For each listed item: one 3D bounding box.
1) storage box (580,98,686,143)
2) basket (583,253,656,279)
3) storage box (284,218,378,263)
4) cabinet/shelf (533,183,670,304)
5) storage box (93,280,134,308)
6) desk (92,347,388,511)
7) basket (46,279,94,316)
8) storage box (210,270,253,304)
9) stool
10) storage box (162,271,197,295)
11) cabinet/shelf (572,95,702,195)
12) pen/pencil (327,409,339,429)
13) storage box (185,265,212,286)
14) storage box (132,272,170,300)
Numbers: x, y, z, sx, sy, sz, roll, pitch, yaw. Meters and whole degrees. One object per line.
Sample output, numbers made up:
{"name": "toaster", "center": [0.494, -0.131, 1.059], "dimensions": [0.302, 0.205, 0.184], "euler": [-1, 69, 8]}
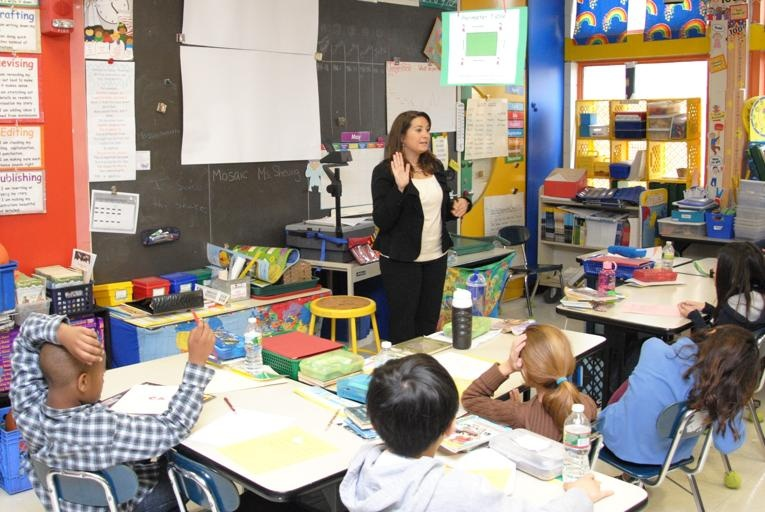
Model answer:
{"name": "storage box", "center": [2.838, -1.554, 6.502], "dimensions": [0.354, 0.481, 1.301], "euler": [-9, 14, -34]}
{"name": "basket", "center": [1.876, 0.069, 4.530], "dimensions": [0.281, 0.080, 0.279], "euler": [-7, 10, -34]}
{"name": "storage box", "center": [-0.452, -0.158, 4.865], "dimensions": [0.481, 0.208, 0.479], "euler": [3, 5, 36]}
{"name": "cabinet/shelf", "center": [2.199, -0.184, 5.668], "dimensions": [1.295, 1.191, 0.515], "euler": [9, 13, 41]}
{"name": "storage box", "center": [-1.922, 0.262, 4.082], "dimensions": [0.165, 0.139, 0.226], "euler": [5, 10, 37]}
{"name": "desk", "center": [-0.581, 0.715, 2.318], "dimensions": [0.906, 0.210, 0.458], "euler": [14, 22, 41]}
{"name": "basket", "center": [-2.089, 0.228, 3.811], "dimensions": [0.282, 0.193, 0.280], "euler": [-6, 10, -38]}
{"name": "storage box", "center": [-1.147, 0.231, 4.294], "dimensions": [0.302, 0.190, 0.213], "euler": [6, 9, 40]}
{"name": "stool", "center": [-0.296, 0.475, 4.506], "dimensions": [0.524, 0.451, 0.514], "euler": [-6, 9, -41]}
{"name": "storage box", "center": [-1.556, 0.189, 4.327], "dimensions": [0.176, 0.104, 0.176], "euler": [7, 10, 38]}
{"name": "cabinet/shelf", "center": [2.915, -1.244, 6.452], "dimensions": [1.217, 1.037, 0.374], "euler": [9, 14, 42]}
{"name": "pen/pencil", "center": [-0.212, 0.694, 2.456], "dimensions": [0.016, 0.016, 0.125], "euler": [1, 16, 17]}
{"name": "storage box", "center": [-1.424, 0.142, 4.469], "dimensions": [0.158, 0.045, 0.157], "euler": [-9, 19, -43]}
{"name": "storage box", "center": [-1.714, 0.207, 4.205], "dimensions": [0.194, 0.114, 0.192], "euler": [-6, 10, -44]}
